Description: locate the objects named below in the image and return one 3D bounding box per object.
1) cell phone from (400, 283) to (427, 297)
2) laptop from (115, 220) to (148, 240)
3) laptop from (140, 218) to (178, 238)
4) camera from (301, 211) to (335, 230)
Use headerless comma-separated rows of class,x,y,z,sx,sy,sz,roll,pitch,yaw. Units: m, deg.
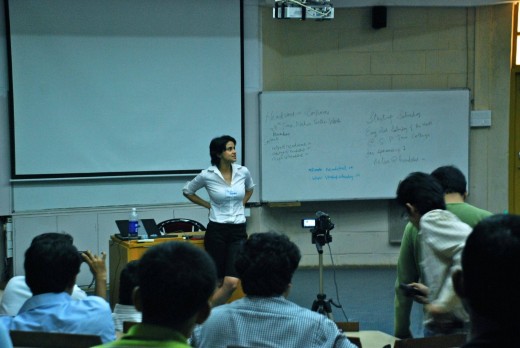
cell phone,1.203,0.917,5.048,0.136,0.042,0.111,19,4,-8
laptop,-1.430,0.595,6.875,0.215,0.147,0.207,2,-8,-26
laptop,-1.179,0.569,6.896,0.179,0.164,0.212,1,-2,37
camera,0.579,0.488,6.488,0.259,0.161,0.204,-2,4,-10
